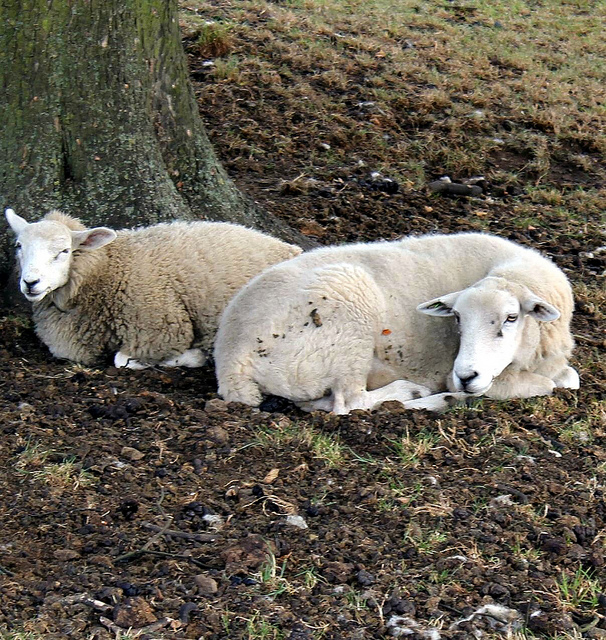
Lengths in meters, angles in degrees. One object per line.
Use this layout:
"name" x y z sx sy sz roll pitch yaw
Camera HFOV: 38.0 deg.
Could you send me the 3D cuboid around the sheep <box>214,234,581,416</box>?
"sheep" 0.564 0.093 5.184 2.107 0.950 1.285 6 27 -4
